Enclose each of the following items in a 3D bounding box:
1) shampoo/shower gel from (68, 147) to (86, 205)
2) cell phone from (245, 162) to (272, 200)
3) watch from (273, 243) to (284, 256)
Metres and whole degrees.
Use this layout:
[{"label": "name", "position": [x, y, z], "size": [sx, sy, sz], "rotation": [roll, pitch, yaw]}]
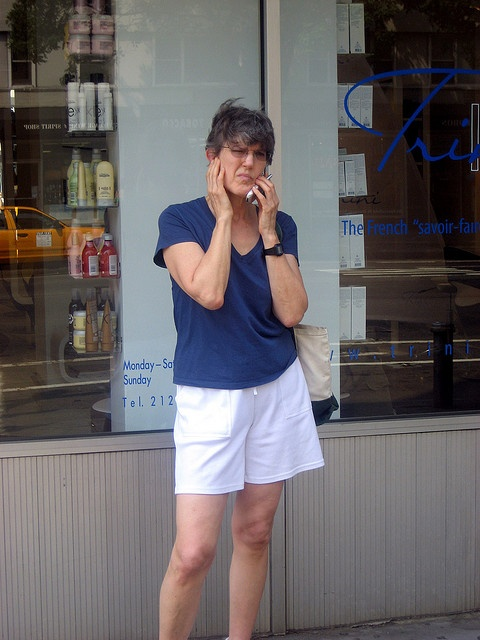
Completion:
[{"label": "shampoo/shower gel", "position": [-0.671, -0.589, 3.264], "size": [0.075, 0.236, 0.024], "rotation": [-2, 3, -13]}, {"label": "cell phone", "position": [0.053, -0.412, 2.354], "size": [0.024, 0.138, 0.041], "rotation": [22, 28, -12]}, {"label": "watch", "position": [0.115, -0.209, 2.377], "size": [0.032, 0.029, 0.039], "rotation": [-5, -1, 13]}]
